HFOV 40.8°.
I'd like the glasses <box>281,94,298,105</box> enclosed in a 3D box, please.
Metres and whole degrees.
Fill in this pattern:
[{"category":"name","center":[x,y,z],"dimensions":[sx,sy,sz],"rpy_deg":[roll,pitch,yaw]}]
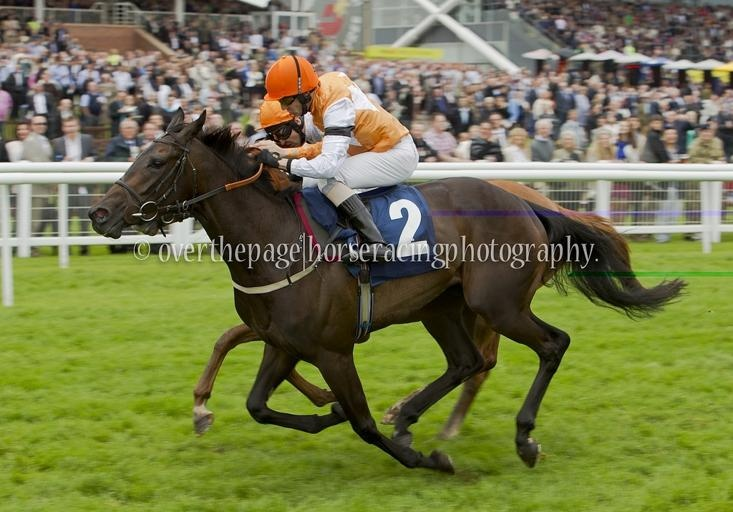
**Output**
[{"category":"glasses","center":[-0.431,-0.863,5.501],"dimensions":[0.056,0.026,0.059],"rpy_deg":[-15,19,7]}]

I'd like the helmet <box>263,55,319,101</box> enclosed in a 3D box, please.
[{"category":"helmet","center":[-0.424,-0.989,5.526],"dimensions":[0.364,0.159,0.237],"rpy_deg":[-20,37,-15]}]

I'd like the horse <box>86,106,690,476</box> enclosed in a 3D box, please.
[{"category":"horse","center":[0.058,0.189,5.696],"dimensions":[3.102,2.026,0.673],"rpy_deg":[-1,8,-5]}]

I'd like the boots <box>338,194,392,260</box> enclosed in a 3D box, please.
[{"category":"boots","center":[-0.008,-0.151,5.486],"dimensions":[0.304,0.362,0.142],"rpy_deg":[0,8,4]}]

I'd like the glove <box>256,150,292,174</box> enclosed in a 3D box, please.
[{"category":"glove","center":[-0.517,-0.523,5.478],"dimensions":[0.133,0.063,0.195],"rpy_deg":[30,10,15]}]

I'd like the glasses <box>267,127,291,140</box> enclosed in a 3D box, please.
[{"category":"glasses","center":[-0.506,-0.707,5.720],"dimensions":[0.099,0.027,0.087],"rpy_deg":[-1,35,1]}]
